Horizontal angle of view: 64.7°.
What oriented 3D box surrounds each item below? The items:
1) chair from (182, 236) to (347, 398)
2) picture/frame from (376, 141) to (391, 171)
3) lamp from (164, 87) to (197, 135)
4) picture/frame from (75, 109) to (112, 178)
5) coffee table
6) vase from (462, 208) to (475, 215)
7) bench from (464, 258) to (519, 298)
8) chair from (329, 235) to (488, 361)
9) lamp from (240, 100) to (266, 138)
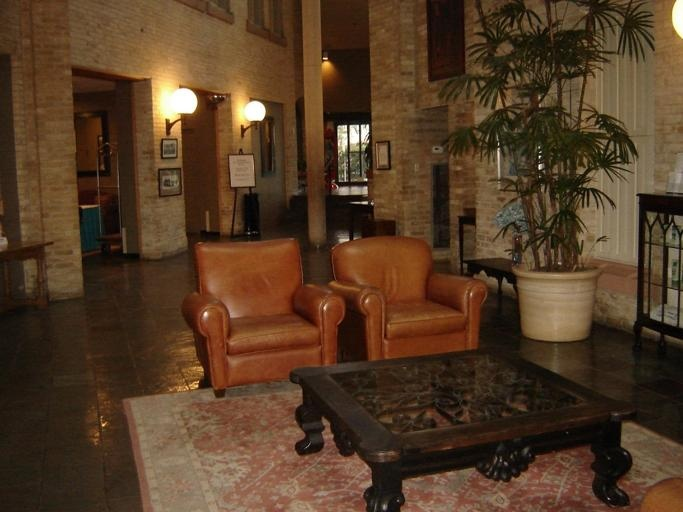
[{"bbox_3d":[-0.677,0.447,4.432,1.429,0.928,1.135,-10,21,-44],"label":"chair"},{"bbox_3d":[0.781,-1.826,9.841,0.052,0.589,0.583,-5,10,-25],"label":"picture/frame"},{"bbox_3d":[-3.135,-2.827,10.619,0.551,0.917,0.572,-1,12,-4],"label":"lamp"},{"bbox_3d":[-6.708,-3.021,14.678,1.227,1.747,0.513,8,15,33],"label":"picture/frame"},{"bbox_3d":[0.578,0.866,2.978,1.392,0.363,1.141,-3,11,-18],"label":"coffee table"},{"bbox_3d":[1.971,-0.684,8.335,0.235,0.096,0.139,-1,1,3],"label":"vase"},{"bbox_3d":[1.896,0.192,6.372,0.500,0.267,0.617,-4,9,-31],"label":"bench"},{"bbox_3d":[0.514,0.384,4.704,1.342,0.839,1.175,-12,19,-42],"label":"chair"},{"bbox_3d":[-2.176,-3.365,13.312,0.557,0.883,0.609,1,12,5],"label":"lamp"}]
